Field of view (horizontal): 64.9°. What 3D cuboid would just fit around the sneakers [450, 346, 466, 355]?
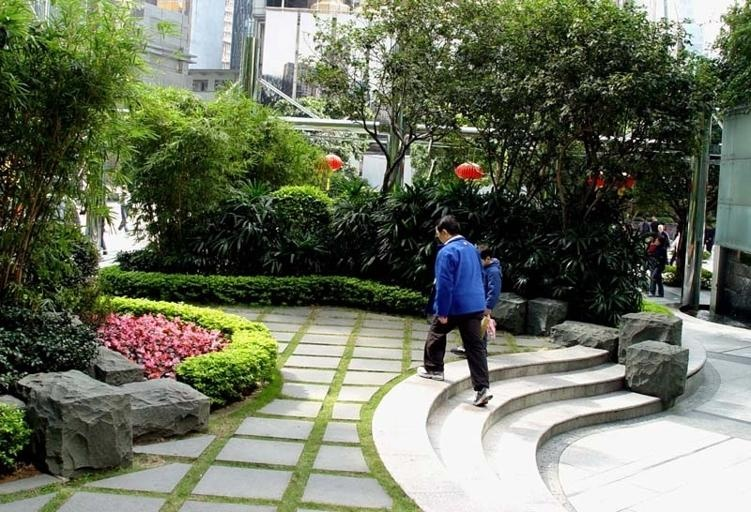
[{"bbox_3d":[0.913,1.045,6.632,0.215,0.094,0.088,4,15,-14],"label":"sneakers"}]

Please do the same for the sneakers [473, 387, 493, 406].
[{"bbox_3d":[0.974,1.262,5.322,0.096,0.111,0.240,-26,-8,-19],"label":"sneakers"}]

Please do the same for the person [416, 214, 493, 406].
[{"bbox_3d":[0.752,0.500,5.434,0.599,1.714,0.431,1,5,3],"label":"person"}]

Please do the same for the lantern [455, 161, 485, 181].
[{"bbox_3d":[2.006,-1.814,12.678,0.537,0.419,1.047,1,4,8],"label":"lantern"}]

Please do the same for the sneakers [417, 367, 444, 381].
[{"bbox_3d":[0.527,1.143,5.736,0.249,0.120,0.102,14,8,29],"label":"sneakers"}]

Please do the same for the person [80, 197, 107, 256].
[{"bbox_3d":[-5.434,-0.623,11.250,0.267,0.745,0.307,7,6,38],"label":"person"}]
